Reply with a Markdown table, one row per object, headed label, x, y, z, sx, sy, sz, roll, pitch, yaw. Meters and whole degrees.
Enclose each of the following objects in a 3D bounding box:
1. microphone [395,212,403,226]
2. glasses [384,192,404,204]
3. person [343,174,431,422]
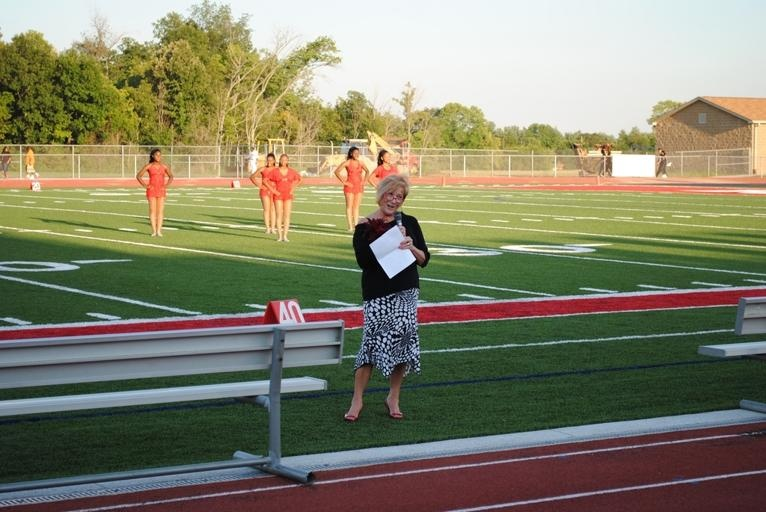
| label | x | y | z | sx | sy | sz | roll | pitch | yaw |
| --- | --- | --- | --- | --- | --- | --- | --- | --- | --- |
| microphone | 0.125 | -0.298 | 5.386 | 0.067 | 0.098 | 0.027 | -2 | -1 | -2 |
| glasses | 0.095 | -0.464 | 5.343 | 0.169 | 0.100 | 0.087 | -2 | 9 | -18 |
| person | 0.028 | 0.326 | 5.521 | 0.659 | 1.984 | 0.685 | 1 | 9 | 3 |
